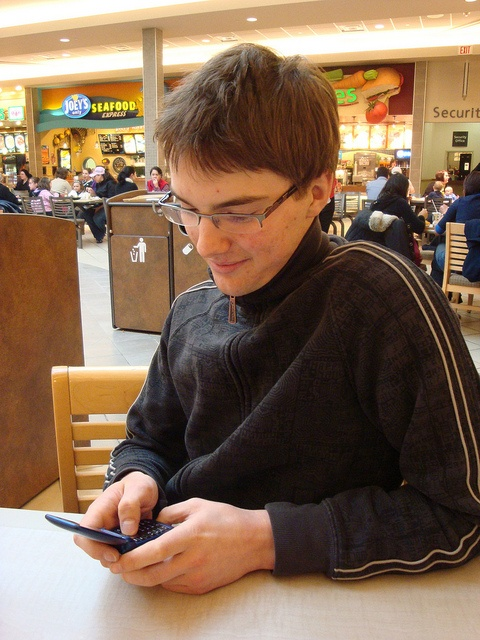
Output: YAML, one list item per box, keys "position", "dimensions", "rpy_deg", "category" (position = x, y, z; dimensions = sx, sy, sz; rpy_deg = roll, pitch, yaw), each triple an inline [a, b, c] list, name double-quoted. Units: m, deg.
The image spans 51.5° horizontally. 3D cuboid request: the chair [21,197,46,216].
- position: [-3.986, -2.206, 9.635]
  dimensions: [0.316, 0.304, 0.845]
  rpy_deg: [-13, 16, -40]
  category: "chair"
